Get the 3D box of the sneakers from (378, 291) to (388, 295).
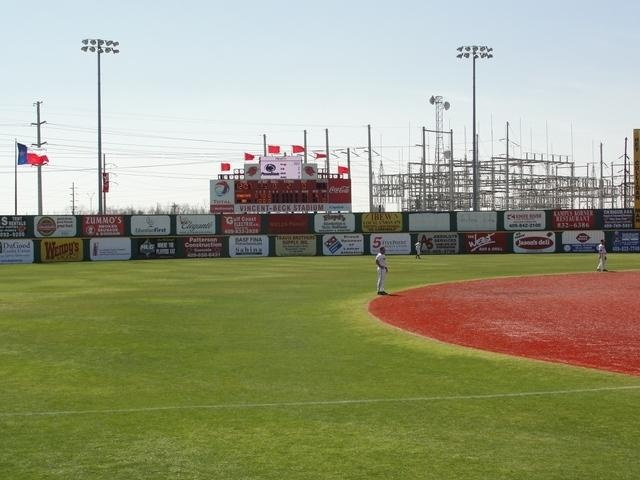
[{"bbox_3d":[2.006,1.645,31.018,0.328,0.114,0.099,-1,3,-5],"label":"sneakers"}]
